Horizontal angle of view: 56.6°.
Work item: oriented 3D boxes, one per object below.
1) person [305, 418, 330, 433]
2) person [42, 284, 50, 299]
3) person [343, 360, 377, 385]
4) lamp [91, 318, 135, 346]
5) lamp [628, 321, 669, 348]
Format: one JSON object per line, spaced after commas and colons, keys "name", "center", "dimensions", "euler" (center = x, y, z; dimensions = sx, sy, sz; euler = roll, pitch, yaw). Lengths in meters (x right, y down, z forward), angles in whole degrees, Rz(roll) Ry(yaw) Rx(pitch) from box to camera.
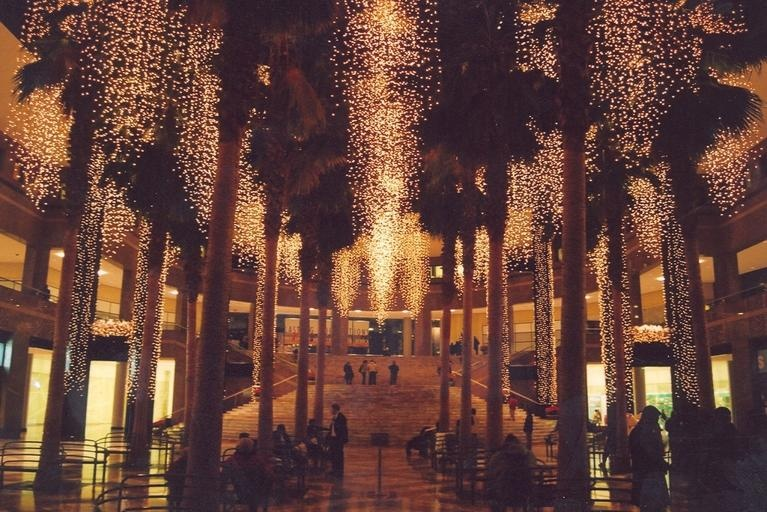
{"name": "person", "center": [-2.519, 6.535, 27.028], "dimensions": [1.017, 0.425, 2.013], "euler": [1, -8, 2]}
{"name": "person", "center": [-14.809, 1.546, 31.488], "dimensions": [0.259, 0.732, 1.539], "euler": [6, -14, -25]}
{"name": "person", "center": [-1.334, 6.552, 39.717], "dimensions": [1.590, 1.333, 0.537], "euler": [-1, -5, 10]}
{"name": "lamp", "center": [-10.487, 2.859, 27.775], "dimensions": [1.374, 0.472, 1.377], "euler": [4, -4, -5]}
{"name": "lamp", "center": [9.897, 2.982, 26.651], "dimensions": [1.245, 0.881, 1.631], "euler": [-4, -13, 17]}
